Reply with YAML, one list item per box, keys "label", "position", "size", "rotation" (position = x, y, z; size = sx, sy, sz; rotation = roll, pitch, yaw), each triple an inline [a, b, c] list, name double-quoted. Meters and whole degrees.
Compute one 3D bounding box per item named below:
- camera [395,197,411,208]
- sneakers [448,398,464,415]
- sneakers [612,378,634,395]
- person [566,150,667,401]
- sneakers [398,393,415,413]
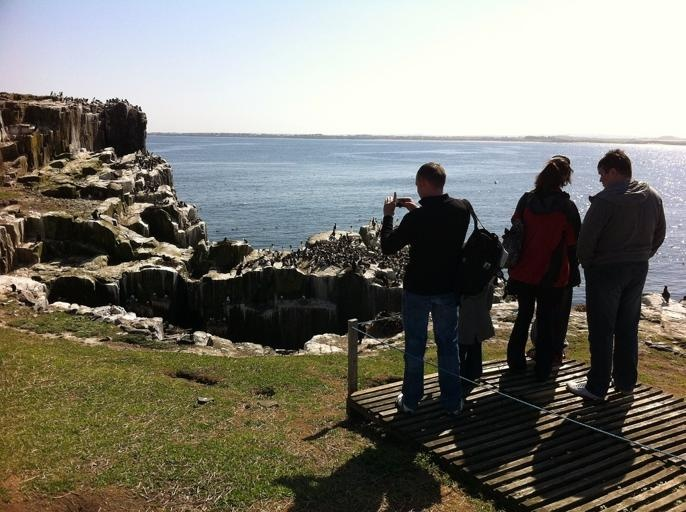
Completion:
- label: "camera"
  position: [0.905, -0.784, 8.861]
  size: [0.283, 0.106, 0.260]
  rotation: [5, 19, 8]
- label: "sneakers"
  position: [1.709, 2.221, 8.959]
  size: [0.144, 0.151, 0.243]
  rotation: [20, 37, 33]
- label: "sneakers"
  position: [4.405, 2.029, 9.422]
  size: [0.164, 0.183, 0.445]
  rotation: [-3, -2, 7]
- label: "person"
  position: [4.161, 0.306, 9.117]
  size: [1.259, 3.733, 0.588]
  rotation: [-1, 10, -15]
- label: "sneakers"
  position: [0.953, 2.182, 9.017]
  size: [0.145, 0.159, 0.379]
  rotation: [1, 13, -3]
